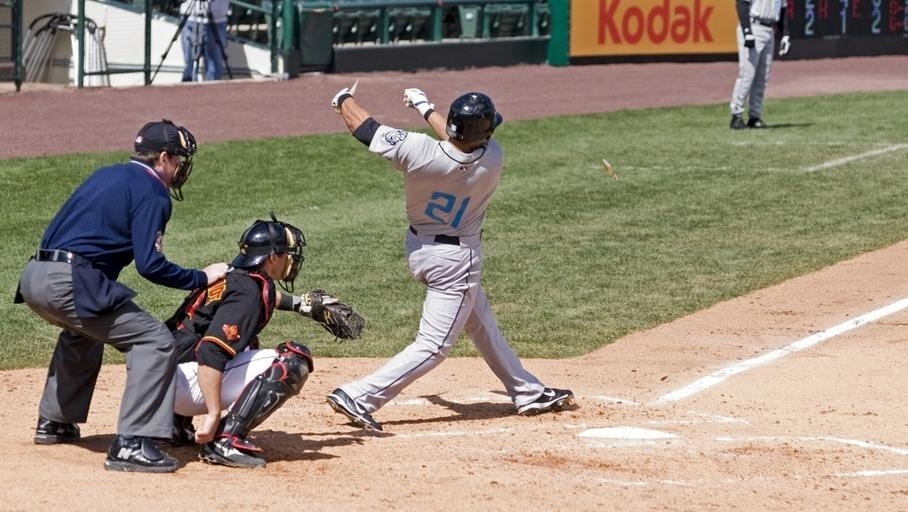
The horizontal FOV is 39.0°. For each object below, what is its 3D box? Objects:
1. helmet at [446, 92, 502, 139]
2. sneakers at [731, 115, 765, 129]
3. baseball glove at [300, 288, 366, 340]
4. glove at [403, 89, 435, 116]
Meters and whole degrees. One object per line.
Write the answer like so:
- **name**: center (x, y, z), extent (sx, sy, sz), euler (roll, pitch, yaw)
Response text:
- **helmet**: center (0.217, -1.508, 13.677), extent (0.586, 0.317, 0.439), euler (-27, 41, -28)
- **sneakers**: center (5.153, -2.376, 22.674), extent (0.706, 0.253, 0.221), euler (-4, 15, -4)
- **baseball glove**: center (-1.315, 0.621, 13.791), extent (0.710, 0.441, 0.303), euler (31, -21, -10)
- **glove**: center (-0.442, -1.662, 14.139), extent (0.419, 0.105, 0.275), euler (37, 40, 18)
